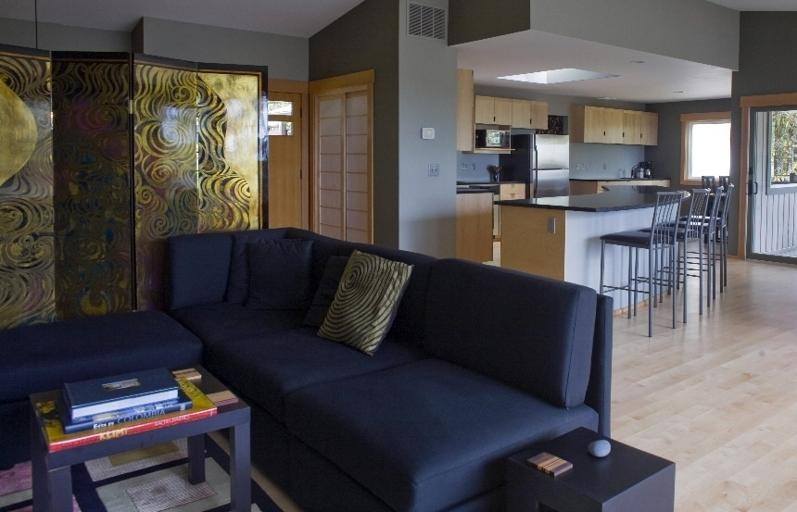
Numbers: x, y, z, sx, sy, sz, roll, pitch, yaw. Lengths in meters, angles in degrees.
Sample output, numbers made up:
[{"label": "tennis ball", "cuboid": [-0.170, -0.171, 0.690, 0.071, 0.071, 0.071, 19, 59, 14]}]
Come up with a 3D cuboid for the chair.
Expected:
[{"label": "chair", "cuboid": [2.918, 0.048, 6.277, 0.668, 1.193, 1.929, 4, 7, 43]}]

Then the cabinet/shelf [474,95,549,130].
[{"label": "cabinet/shelf", "cuboid": [1.935, -2.447, 9.929, 1.898, 0.559, 0.138, -12, 18, -39]}]

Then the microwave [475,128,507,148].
[{"label": "microwave", "cuboid": [1.548, -1.964, 9.702, 0.798, 0.344, 0.162, -13, 19, -41]}]

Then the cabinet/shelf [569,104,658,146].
[{"label": "cabinet/shelf", "cuboid": [4.410, -2.677, 11.832, 2.305, 0.787, 0.315, -9, 16, -29]}]

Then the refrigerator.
[{"label": "refrigerator", "cuboid": [2.520, -1.653, 10.545, 1.358, 1.137, 0.548, -6, 15, -22]}]

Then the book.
[{"label": "book", "cuboid": [-1.430, 0.765, 3.042, 0.938, 0.175, 0.446, -6, 15, -20]}]

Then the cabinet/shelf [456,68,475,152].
[{"label": "cabinet/shelf", "cuboid": [0.942, -2.082, 8.358, 0.205, 1.133, 0.541, 0, 14, 4]}]
